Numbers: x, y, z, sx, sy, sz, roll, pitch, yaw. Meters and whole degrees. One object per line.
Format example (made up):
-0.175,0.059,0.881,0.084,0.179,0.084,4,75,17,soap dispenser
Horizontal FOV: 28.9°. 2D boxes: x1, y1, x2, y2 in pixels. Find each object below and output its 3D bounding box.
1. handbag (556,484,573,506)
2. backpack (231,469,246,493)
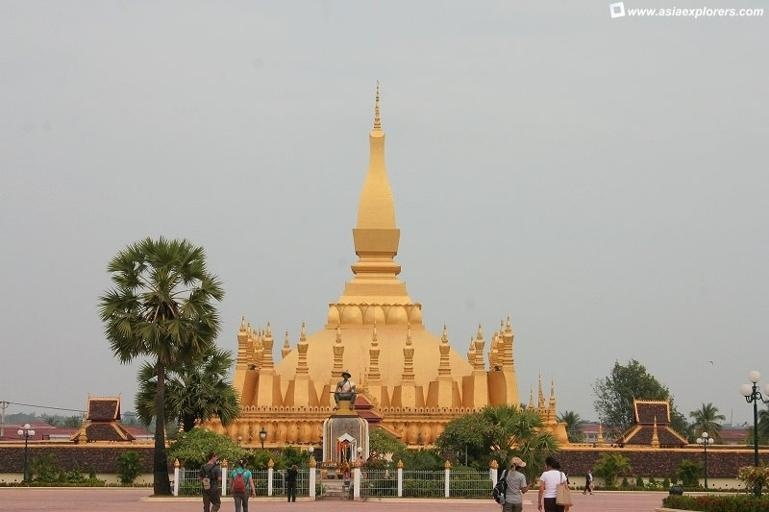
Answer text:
5.561,7.369,45.928,0.279,0.727,0.566,-9,-17,36,handbag
-4.817,7.434,49.193,0.449,0.866,0.374,1,-14,1,backpack
